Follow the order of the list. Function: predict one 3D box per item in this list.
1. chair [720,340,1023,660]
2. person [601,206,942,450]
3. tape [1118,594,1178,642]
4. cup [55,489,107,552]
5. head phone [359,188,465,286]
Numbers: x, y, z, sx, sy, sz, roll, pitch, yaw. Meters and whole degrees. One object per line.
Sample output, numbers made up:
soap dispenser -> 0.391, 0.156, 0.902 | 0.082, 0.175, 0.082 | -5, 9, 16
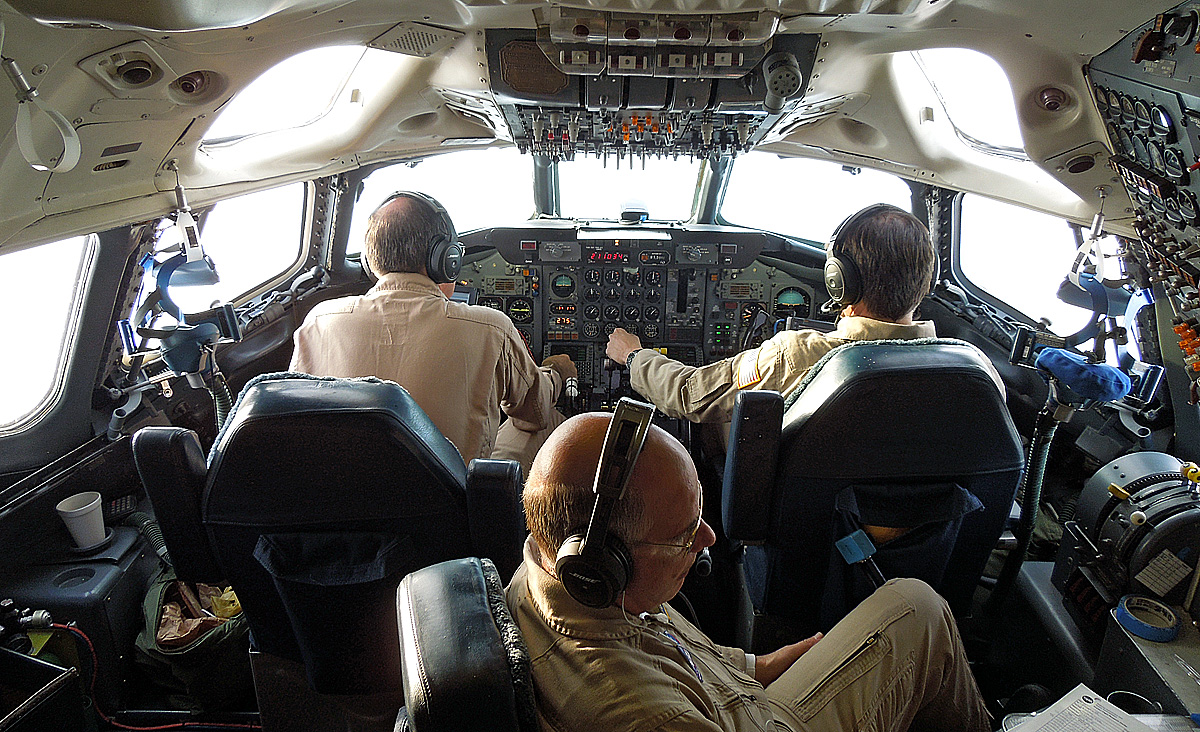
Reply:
chair -> 1.119, 0.403, 3.457 | 1.110, 1.393, 1.367 | 0, 19, 0
person -> 0.779, -0.220, 3.846 | 1.009, 0.861, 1.322 | -3, 7, -31
tape -> 2.134, 0.991, 3.050 | 0.157, 0.052, 0.158 | 8, 18, 34
cup -> -2.600, 0.782, 3.919 | 0.210, 0.250, 0.236 | -2, 7, -35
head phone -> -0.928, -0.631, 3.846 | 0.553, 0.472, 0.226 | -1, 15, 35
